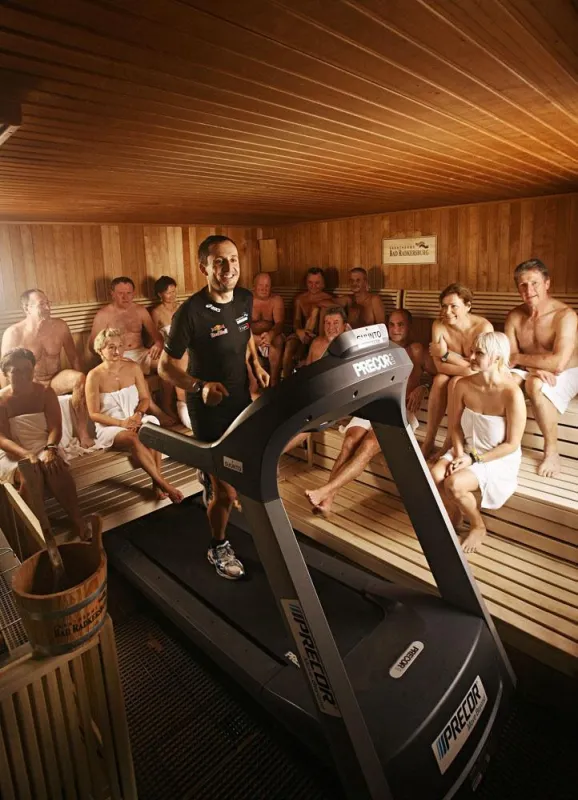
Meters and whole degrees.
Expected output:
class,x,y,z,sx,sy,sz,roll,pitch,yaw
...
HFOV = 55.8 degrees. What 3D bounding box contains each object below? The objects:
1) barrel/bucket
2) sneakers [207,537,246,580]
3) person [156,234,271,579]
class,x,y,z,sx,sy,sz,roll,pitch,yaw
barrel/bucket,-0.542,0.423,1.310,0.212,0.283,0.274,0,14,3
sneakers,-0.311,0.805,2.788,0.114,0.109,0.238,-16,32,-41
person,-0.317,0.080,2.570,0.430,1.578,0.646,5,16,21
